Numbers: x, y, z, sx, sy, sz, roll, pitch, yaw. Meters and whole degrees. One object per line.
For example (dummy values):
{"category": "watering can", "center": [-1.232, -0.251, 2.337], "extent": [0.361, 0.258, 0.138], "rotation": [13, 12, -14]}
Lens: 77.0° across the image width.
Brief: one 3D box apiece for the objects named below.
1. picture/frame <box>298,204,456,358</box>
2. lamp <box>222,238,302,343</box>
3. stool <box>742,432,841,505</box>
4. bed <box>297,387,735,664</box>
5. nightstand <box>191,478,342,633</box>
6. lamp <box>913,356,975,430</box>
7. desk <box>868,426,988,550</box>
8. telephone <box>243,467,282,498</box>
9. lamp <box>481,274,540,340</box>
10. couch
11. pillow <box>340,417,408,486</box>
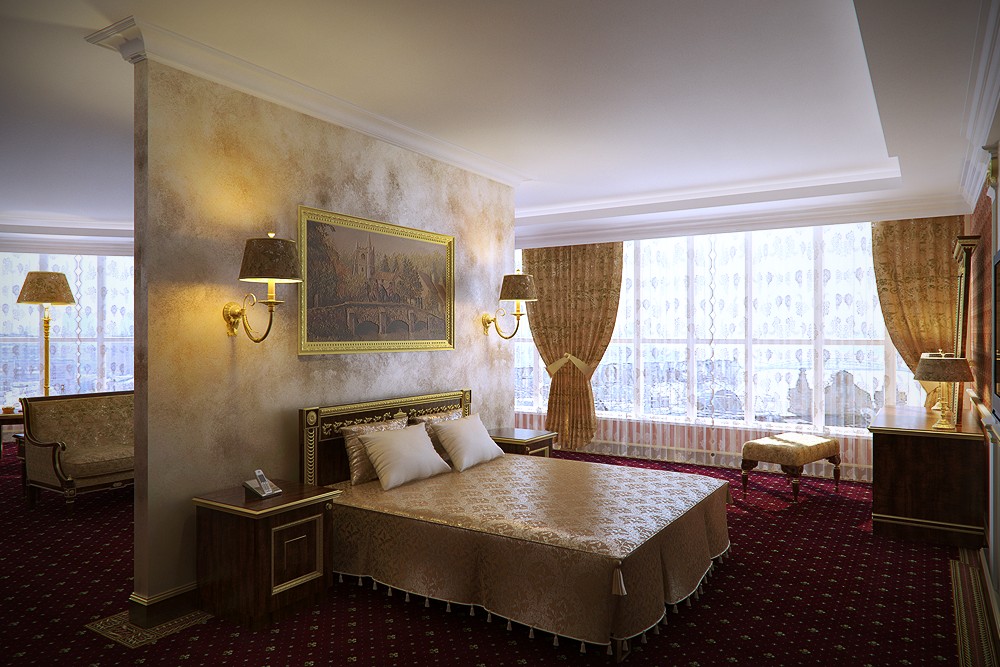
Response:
{"category": "picture/frame", "center": [-1.315, -0.539, 6.465], "extent": [0.073, 1.064, 1.713], "rotation": [-2, -3, 38]}
{"category": "lamp", "center": [-2.026, -0.372, 5.407], "extent": [0.569, 0.974, 0.609], "rotation": [-7, 9, -44]}
{"category": "stool", "center": [3.800, 1.717, 8.199], "extent": [1.134, 0.666, 0.849], "rotation": [-3, 2, -42]}
{"category": "bed", "center": [0.129, 1.677, 5.480], "extent": [2.527, 1.136, 2.290], "rotation": [0, 3, 30]}
{"category": "nightstand", "center": [-1.986, 1.795, 5.369], "extent": [0.856, 0.823, 0.905], "rotation": [-1, -2, 24]}
{"category": "lamp", "center": [4.687, 0.643, 6.649], "extent": [0.542, 0.712, 0.545], "rotation": [0, -4, 40]}
{"category": "desk", "center": [4.707, 1.567, 6.927], "extent": [1.004, 1.287, 1.300], "rotation": [1, 2, 40]}
{"category": "telephone", "center": [-1.973, 1.263, 5.207], "extent": [0.277, 0.119, 0.211], "rotation": [17, 15, 40]}
{"category": "lamp", "center": [0.118, -0.292, 7.687], "extent": [0.790, 0.828, 0.451], "rotation": [-4, -7, 38]}
{"category": "couch", "center": [-5.003, 1.382, 8.020], "extent": [0.824, 1.093, 1.697], "rotation": [6, 2, 13]}
{"category": "pillow", "center": [-1.329, 1.166, 6.103], "extent": [0.512, 0.520, 0.155], "rotation": [-2, -28, -16]}
